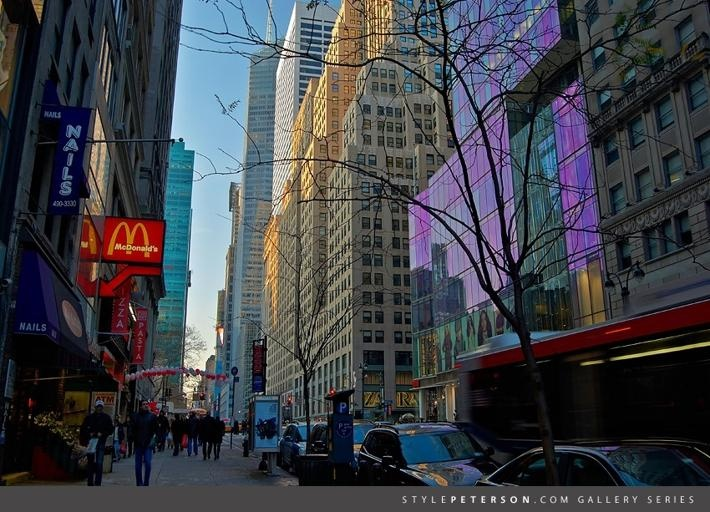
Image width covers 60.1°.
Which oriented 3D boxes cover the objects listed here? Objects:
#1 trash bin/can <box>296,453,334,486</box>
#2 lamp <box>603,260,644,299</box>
[{"bbox_3d":[-1.036,5.576,15.998,0.699,0.595,0.737,-1,-13,8],"label":"trash bin/can"},{"bbox_3d":[13.200,1.135,29.966,1.493,1.100,1.527,10,-24,-32],"label":"lamp"}]
